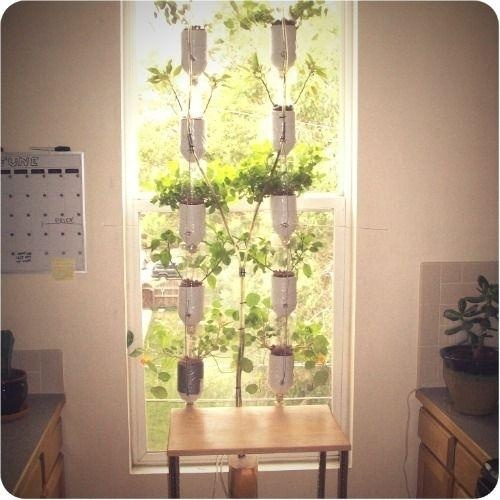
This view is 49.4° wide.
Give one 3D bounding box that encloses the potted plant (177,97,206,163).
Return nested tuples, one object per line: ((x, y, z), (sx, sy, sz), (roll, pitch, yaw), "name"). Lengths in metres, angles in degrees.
((-0.166, -0.323, 1.568), (0.091, 0.195, 0.105), (0, 2, -5), "potted plant")

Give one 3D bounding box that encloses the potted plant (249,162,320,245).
((0.096, -0.133, 1.616), (0.174, 0.254, 0.176), (0, 1, 26), "potted plant")

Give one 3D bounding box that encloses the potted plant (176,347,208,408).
((-0.164, 0.414, 1.729), (0.107, 0.222, 0.122), (-1, -1, 3), "potted plant")
